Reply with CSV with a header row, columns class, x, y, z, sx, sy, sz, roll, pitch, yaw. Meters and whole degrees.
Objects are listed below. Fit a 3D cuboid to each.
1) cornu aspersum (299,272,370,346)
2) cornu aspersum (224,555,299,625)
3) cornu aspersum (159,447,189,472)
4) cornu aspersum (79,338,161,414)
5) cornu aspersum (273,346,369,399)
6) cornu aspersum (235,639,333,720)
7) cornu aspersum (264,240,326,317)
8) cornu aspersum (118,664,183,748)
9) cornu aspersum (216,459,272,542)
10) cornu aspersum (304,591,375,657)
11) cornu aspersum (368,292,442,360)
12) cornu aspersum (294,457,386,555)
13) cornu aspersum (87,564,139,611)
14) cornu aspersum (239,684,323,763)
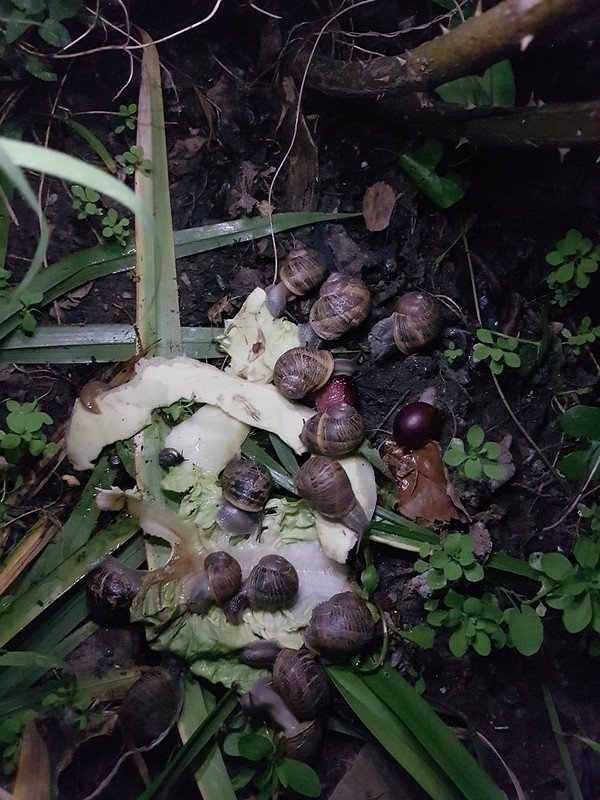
class,x,y,z,sx,sy,sz,roll,pitch,yaw
cornu aspersum,0.127,-0.290,2.251,0.295,0.106,0.165,-27,77,19
cornu aspersum,-0.120,0.585,2.153,0.299,0.128,0.163,-18,17,-8
cornu aspersum,-0.420,0.193,2.239,0.070,0.070,0.068,38,63,25
cornu aspersum,-0.556,-0.061,2.329,0.339,0.095,0.131,-39,65,-8
cornu aspersum,0.061,-0.113,2.235,0.147,0.112,0.248,38,47,27
cornu aspersum,-0.023,0.828,2.110,0.289,0.117,0.183,36,26,34
cornu aspersum,-0.039,-0.397,2.280,0.269,0.122,0.141,-35,49,-9
cornu aspersum,-0.464,0.942,2.114,0.136,0.076,0.231,40,62,6
cornu aspersum,-0.175,0.298,2.159,0.182,0.239,0.083,3,14,1
cornu aspersum,0.160,0.702,2.129,0.126,0.258,0.198,38,54,-30
cornu aspersum,0.345,-0.238,2.250,0.227,0.198,0.150,5,54,4
cornu aspersum,0.118,0.324,2.199,0.267,0.311,0.120,-13,9,-15
cornu aspersum,-0.586,0.584,2.207,0.170,0.113,0.062,9,11,-11
cornu aspersum,-0.051,0.960,2.134,0.297,0.140,0.155,41,64,15
